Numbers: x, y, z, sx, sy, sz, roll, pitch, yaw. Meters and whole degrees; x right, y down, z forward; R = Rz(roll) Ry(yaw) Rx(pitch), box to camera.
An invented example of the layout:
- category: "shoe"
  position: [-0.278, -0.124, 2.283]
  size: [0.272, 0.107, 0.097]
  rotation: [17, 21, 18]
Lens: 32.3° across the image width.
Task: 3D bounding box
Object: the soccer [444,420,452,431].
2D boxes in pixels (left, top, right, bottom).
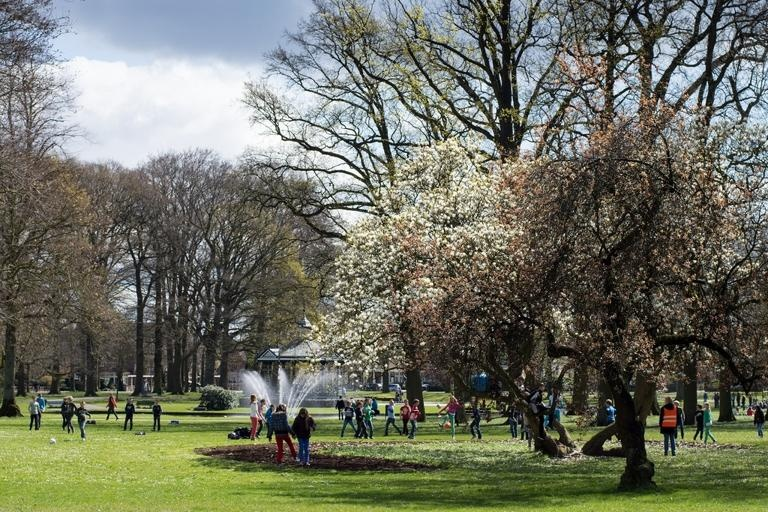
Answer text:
- category: "soccer"
  position: [3.749, 9.827, 77.682]
  size: [0.396, 0.665, 0.680]
  rotation: [7, -12, 4]

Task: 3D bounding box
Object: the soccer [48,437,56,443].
- category: "soccer"
  position: [-16.461, 9.163, 66.046]
  size: [0.389, 0.206, 0.371]
  rotation: [3, -9, -27]
